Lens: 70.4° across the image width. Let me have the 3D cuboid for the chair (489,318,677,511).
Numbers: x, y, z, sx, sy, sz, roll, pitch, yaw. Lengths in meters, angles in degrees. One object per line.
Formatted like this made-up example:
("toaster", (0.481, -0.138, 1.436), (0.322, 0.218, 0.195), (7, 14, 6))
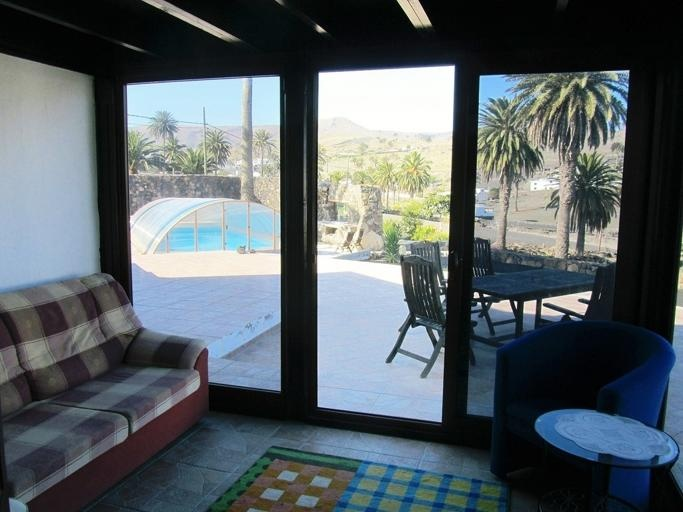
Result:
("chair", (1.566, 0.845, 3.463), (1.151, 1.243, 1.184), (-1, 4, -34))

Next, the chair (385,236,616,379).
("chair", (1.337, 0.395, 4.216), (1.683, 0.967, 0.944), (-4, 8, -16))

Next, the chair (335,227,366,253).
("chair", (0.288, -0.488, 14.493), (0.620, 0.889, 0.854), (1, 1, 30))
